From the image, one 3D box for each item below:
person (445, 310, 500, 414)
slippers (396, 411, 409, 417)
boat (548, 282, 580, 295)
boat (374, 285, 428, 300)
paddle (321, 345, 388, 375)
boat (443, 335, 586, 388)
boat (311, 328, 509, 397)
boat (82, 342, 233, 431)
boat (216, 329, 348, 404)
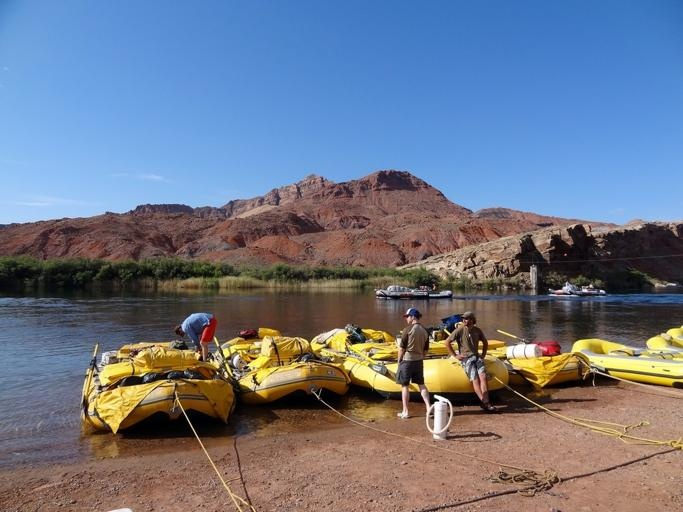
[{"bbox_3d":[3.341,2.715,12.651,1.104,2.581,0.944,0,1,21],"label":"person"},{"bbox_3d":[1.552,3.981,12.376,0.159,0.123,0.365,6,-7,-24],"label":"slippers"},{"bbox_3d":[28.177,4.424,62.771,2.355,0.938,2.991,1,-5,-34],"label":"boat"},{"bbox_3d":[6.891,4.227,56.473,5.971,1.020,1.930,3,-7,-15],"label":"boat"},{"bbox_3d":[0.565,3.244,15.391,1.962,0.274,0.650,7,0,40],"label":"paddle"},{"bbox_3d":[5.723,3.423,16.009,2.371,0.697,2.787,2,-4,-27],"label":"boat"},{"bbox_3d":[1.361,3.235,15.024,2.797,0.777,4.625,3,-6,-27],"label":"boat"},{"bbox_3d":[-4.788,3.304,12.506,3.095,1.726,3.507,0,0,-30],"label":"boat"},{"bbox_3d":[-2.213,3.230,15.380,3.086,1.670,5.182,0,0,-36],"label":"boat"}]
